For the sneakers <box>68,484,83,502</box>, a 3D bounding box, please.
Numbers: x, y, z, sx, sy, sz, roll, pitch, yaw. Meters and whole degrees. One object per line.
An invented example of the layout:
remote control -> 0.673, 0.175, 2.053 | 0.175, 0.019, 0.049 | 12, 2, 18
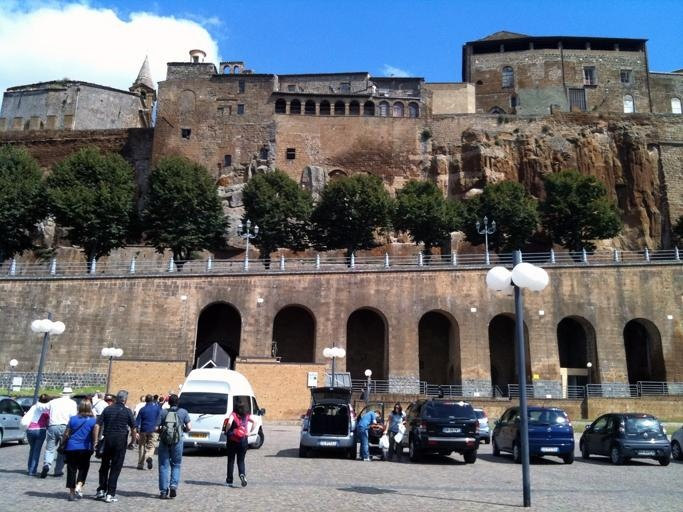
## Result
sneakers -> -5.153, 4.573, 10.872 | 0.134, 0.376, 0.167 | -12, 15, -41

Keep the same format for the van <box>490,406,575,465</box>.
van -> 6.004, 5.718, 18.177 | 1.649, 1.362, 2.762 | 0, -9, 1

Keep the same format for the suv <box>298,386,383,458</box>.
suv -> -0.341, 5.301, 18.078 | 1.681, 2.107, 2.800 | 0, -11, 1

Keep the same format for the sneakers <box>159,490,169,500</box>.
sneakers -> -3.504, 4.706, 11.107 | 0.160, 0.159, 0.131 | 0, -8, 0

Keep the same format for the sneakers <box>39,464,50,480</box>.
sneakers -> -6.674, 4.802, 12.632 | 0.146, 0.429, 0.181 | 7, 6, -20

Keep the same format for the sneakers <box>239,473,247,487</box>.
sneakers -> -2.128, 4.847, 12.206 | 0.138, 0.243, 0.205 | 0, -11, 2

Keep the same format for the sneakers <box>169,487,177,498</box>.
sneakers -> -3.327, 4.626, 11.109 | 0.136, 0.204, 0.251 | 2, -11, -9

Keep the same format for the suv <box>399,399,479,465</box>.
suv -> 2.946, 5.184, 17.312 | 1.373, 1.143, 2.534 | 1, -9, 1

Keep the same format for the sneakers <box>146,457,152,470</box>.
sneakers -> -4.927, 5.286, 14.394 | 0.127, 0.358, 0.147 | 0, -4, -9

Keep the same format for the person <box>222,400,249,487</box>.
person -> -2.390, 4.187, 12.722 | 0.567, 1.749, 1.049 | 3, -12, -9

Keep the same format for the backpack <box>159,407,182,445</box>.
backpack -> -3.534, 3.517, 11.653 | 0.437, 0.673, 0.367 | 3, 9, -17

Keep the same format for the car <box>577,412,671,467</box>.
car -> 8.952, 5.826, 18.193 | 1.505, 1.172, 2.552 | 1, -8, -3

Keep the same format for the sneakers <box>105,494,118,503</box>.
sneakers -> -4.342, 4.605, 10.703 | 0.283, 0.137, 0.103 | 2, -2, -14

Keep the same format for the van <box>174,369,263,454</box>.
van -> -3.689, 4.648, 17.908 | 2.080, 2.076, 3.660 | -1, -8, 10

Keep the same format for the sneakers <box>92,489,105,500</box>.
sneakers -> -4.710, 4.643, 10.965 | 0.139, 0.144, 0.332 | 3, -7, -15

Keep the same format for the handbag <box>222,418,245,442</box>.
handbag -> -2.381, 3.878, 12.687 | 0.456, 0.498, 0.465 | -7, -11, 3
